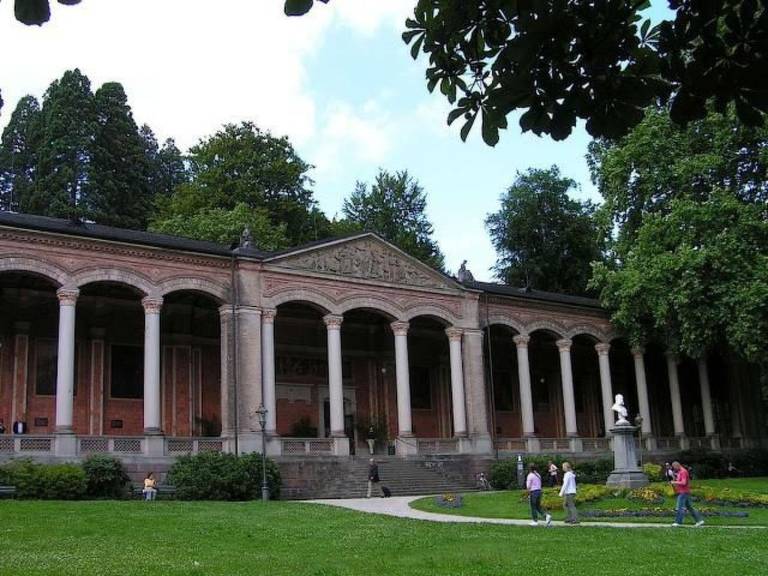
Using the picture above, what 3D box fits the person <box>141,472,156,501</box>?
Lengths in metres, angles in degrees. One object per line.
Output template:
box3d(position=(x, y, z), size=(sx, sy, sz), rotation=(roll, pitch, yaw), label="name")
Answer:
box3d(position=(-8.317, 6.992, 24.529), size=(0.526, 1.009, 0.554), rotation=(9, -46, -28), label="person")

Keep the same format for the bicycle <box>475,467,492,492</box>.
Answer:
box3d(position=(4.693, 9.090, 32.905), size=(0.470, 0.506, 0.937), rotation=(3, 3, -15), label="bicycle")
